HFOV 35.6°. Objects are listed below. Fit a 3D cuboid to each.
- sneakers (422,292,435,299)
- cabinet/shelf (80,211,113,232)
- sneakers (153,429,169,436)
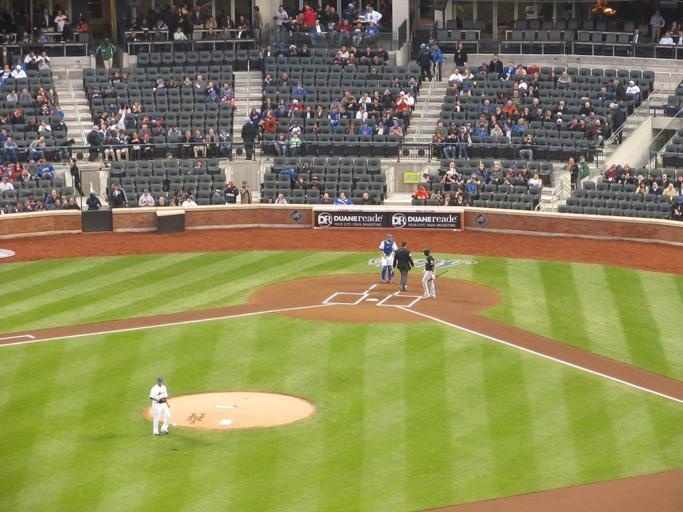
[{"bbox_3d":[3.115,1.347,37.626,0.497,0.184,0.161,5,11,12],"label":"sneakers"},{"bbox_3d":[-10.970,-1.654,47.701,1.141,0.620,1.096,-2,10,-11],"label":"cabinet/shelf"},{"bbox_3d":[-4.870,4.707,28.666,0.432,0.161,0.134,-1,16,-4],"label":"sneakers"}]
